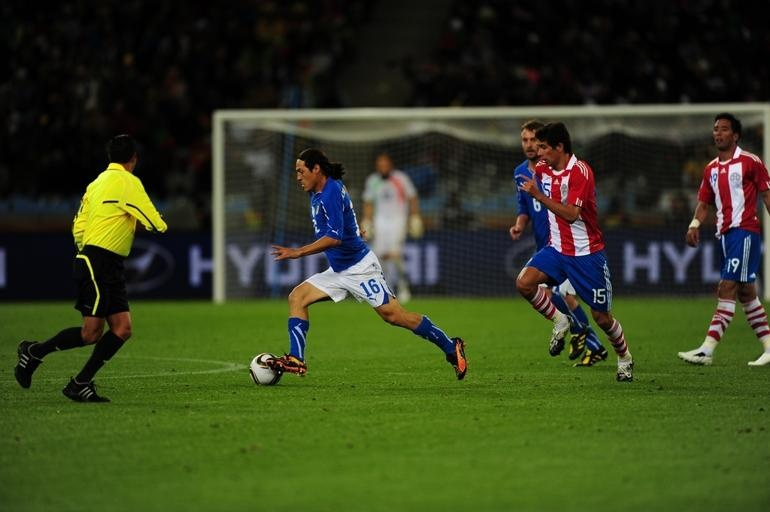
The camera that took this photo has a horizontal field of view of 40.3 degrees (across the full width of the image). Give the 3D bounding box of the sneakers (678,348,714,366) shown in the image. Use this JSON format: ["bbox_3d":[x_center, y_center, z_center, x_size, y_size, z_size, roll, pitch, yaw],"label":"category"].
[{"bbox_3d":[3.786,1.239,12.918,0.462,0.216,0.174,7,-9,5],"label":"sneakers"}]

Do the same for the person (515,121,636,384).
[{"bbox_3d":[2.131,-0.061,12.200,0.935,2.905,1.413,-8,14,-32],"label":"person"}]

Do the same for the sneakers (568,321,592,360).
[{"bbox_3d":[2.436,1.020,13.230,0.258,0.540,0.178,5,3,-7],"label":"sneakers"}]

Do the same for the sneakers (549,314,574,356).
[{"bbox_3d":[2.146,0.953,13.198,0.275,0.594,0.209,11,5,-36],"label":"sneakers"}]

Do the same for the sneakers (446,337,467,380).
[{"bbox_3d":[0.829,1.177,12.149,0.195,0.508,0.247,-7,-1,40],"label":"sneakers"}]
